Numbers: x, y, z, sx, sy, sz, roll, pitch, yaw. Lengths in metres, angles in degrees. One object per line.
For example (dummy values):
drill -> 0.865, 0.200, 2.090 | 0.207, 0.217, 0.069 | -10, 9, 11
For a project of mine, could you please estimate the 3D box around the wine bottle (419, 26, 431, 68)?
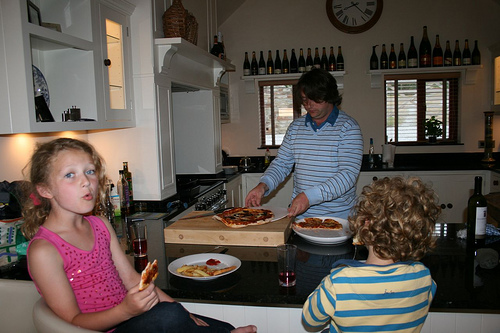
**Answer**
wine bottle -> 2.313, -1.571, 4.955 | 0.138, 0.552, 0.198 | 1, 7, 24

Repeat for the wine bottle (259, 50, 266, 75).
wine bottle -> 0.176, -1.474, 5.329 | 0.094, 0.357, 0.138 | -2, 6, 2

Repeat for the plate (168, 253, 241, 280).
plate -> -0.245, 0.547, 2.038 | 0.383, 0.081, 0.247 | -3, 6, -12

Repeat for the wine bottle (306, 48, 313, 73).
wine bottle -> 0.826, -1.495, 5.203 | 0.097, 0.305, 0.137 | -1, 6, 8

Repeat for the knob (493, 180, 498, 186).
knob -> 2.924, 0.196, 4.469 | 0.022, 0.059, 0.063 | 3, -3, -41

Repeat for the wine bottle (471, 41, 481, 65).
wine bottle -> 2.968, -1.489, 4.932 | 0.137, 0.309, 0.082 | -7, 8, -39

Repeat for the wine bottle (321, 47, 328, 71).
wine bottle -> 1.029, -1.494, 5.181 | 0.088, 0.320, 0.121 | -1, 6, 10

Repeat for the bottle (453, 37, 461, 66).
bottle -> 2.720, -1.519, 4.926 | 0.092, 0.372, 0.147 | 1, 7, 27

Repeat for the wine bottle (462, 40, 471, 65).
wine bottle -> 2.831, -1.490, 4.897 | 0.084, 0.331, 0.137 | 4, 8, 41

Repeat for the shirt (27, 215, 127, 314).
shirt -> -0.839, 0.482, 1.820 | 0.392, 0.408, 0.257 | -8, 8, -44

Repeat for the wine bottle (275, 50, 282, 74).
wine bottle -> 0.401, -1.469, 5.276 | 0.090, 0.351, 0.158 | -1, 6, 5

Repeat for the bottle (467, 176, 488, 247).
bottle -> 1.262, 0.256, 2.085 | 0.094, 0.409, 0.131 | 2, 7, 30

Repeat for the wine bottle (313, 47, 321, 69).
wine bottle -> 0.934, -1.509, 5.188 | 0.102, 0.295, 0.138 | -2, 6, 2

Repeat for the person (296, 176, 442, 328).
person -> 0.607, 0.404, 1.739 | 0.722, 0.695, 0.252 | -4, 7, -17

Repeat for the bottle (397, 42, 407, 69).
bottle -> 2.031, -1.485, 5.009 | 0.117, 0.381, 0.184 | 0, 7, 21

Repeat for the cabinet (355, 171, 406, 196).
cabinet -> 0.955, 0.108, 2.750 | 0.333, 0.202, 0.165 | -1, -4, 10

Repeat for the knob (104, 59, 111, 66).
knob -> -1.094, -0.799, 2.893 | 0.011, 0.039, 0.042 | 8, 8, 37

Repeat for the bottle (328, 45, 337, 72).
bottle -> 1.132, -1.480, 5.151 | 0.119, 0.387, 0.196 | -1, 6, 12

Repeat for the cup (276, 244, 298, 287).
cup -> 0.187, 0.491, 1.909 | 0.090, 0.203, 0.121 | -2, 6, 4

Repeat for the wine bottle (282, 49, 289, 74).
wine bottle -> 0.504, -1.482, 5.272 | 0.098, 0.345, 0.106 | -2, 6, 0

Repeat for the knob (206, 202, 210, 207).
knob -> -0.414, 0.370, 3.708 | 0.034, 0.038, 0.059 | -3, 3, -24

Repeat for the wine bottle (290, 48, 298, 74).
wine bottle -> 0.613, -1.465, 5.233 | 0.112, 0.313, 0.086 | -1, 6, 6

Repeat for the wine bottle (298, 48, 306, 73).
wine bottle -> 0.724, -1.473, 5.210 | 0.104, 0.361, 0.163 | -2, 6, 3

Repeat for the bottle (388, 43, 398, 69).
bottle -> 1.918, -1.479, 5.031 | 0.121, 0.363, 0.159 | 0, 7, 18

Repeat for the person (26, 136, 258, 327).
person -> -0.732, 0.285, 1.734 | 0.513, 0.830, 0.690 | -6, 7, -33

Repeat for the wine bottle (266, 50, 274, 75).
wine bottle -> 0.285, -1.479, 5.326 | 0.114, 0.354, 0.148 | -2, 6, 3

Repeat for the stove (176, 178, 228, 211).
stove -> -0.525, 0.272, 3.859 | 0.348, 0.150, 0.476 | 0, 6, 13

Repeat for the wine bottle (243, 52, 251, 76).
wine bottle -> -0.042, -1.466, 5.361 | 0.110, 0.356, 0.158 | -2, 6, -1

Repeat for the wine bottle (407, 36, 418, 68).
wine bottle -> 2.162, -1.512, 4.986 | 0.133, 0.423, 0.164 | 0, 7, 21

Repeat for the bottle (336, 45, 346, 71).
bottle -> 1.250, -1.488, 5.159 | 0.114, 0.338, 0.164 | 0, 7, 19

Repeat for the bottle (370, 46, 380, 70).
bottle -> 1.693, -1.465, 5.080 | 0.127, 0.336, 0.173 | 0, 7, 17

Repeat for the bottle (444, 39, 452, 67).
bottle -> 2.596, -1.484, 4.917 | 0.089, 0.374, 0.202 | 1, 7, 26

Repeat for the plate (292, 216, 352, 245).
plate -> 0.477, 0.414, 2.352 | 0.386, 0.095, 0.328 | -3, 5, -11

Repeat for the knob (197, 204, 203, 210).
knob -> -0.475, 0.389, 3.579 | 0.043, 0.040, 0.044 | 3, 2, -7

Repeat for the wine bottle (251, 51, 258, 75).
wine bottle -> 0.072, -1.474, 5.360 | 0.117, 0.341, 0.109 | -2, 6, 0

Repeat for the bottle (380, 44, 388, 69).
bottle -> 1.805, -1.470, 5.043 | 0.108, 0.315, 0.071 | -2, 6, 5

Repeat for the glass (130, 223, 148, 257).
glass -> -0.641, 0.425, 2.176 | 0.086, 0.197, 0.101 | -4, 7, -20
